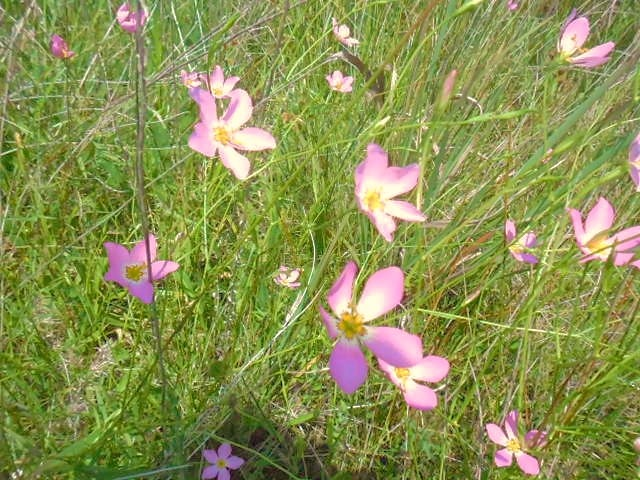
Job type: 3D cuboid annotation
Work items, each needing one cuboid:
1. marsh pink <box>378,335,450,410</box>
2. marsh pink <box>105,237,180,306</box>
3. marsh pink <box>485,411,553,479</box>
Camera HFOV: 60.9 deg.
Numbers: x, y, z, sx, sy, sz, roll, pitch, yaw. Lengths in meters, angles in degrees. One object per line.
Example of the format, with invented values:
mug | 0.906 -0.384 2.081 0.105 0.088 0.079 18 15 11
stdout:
marsh pink | 0.212 0.330 1.417 0.137 0.167 0.057 20 45 -6
marsh pink | -0.491 0.069 1.424 0.206 0.078 0.194 24 32 23
marsh pink | 0.539 0.563 1.517 0.174 0.073 0.166 32 71 22
